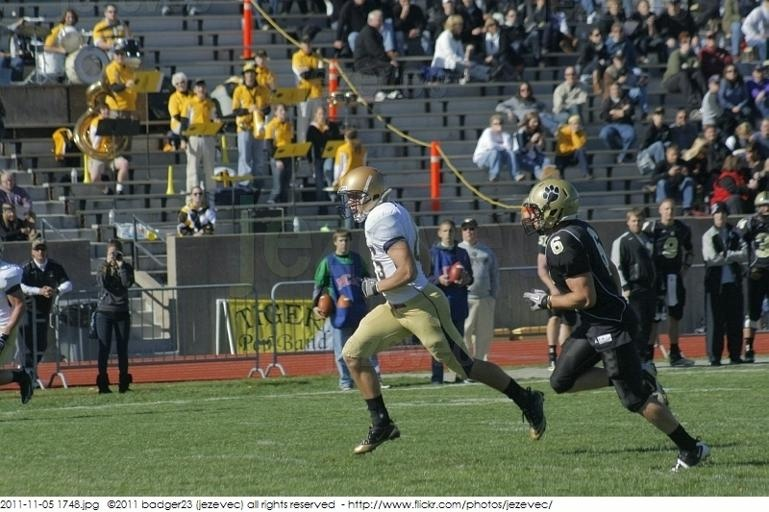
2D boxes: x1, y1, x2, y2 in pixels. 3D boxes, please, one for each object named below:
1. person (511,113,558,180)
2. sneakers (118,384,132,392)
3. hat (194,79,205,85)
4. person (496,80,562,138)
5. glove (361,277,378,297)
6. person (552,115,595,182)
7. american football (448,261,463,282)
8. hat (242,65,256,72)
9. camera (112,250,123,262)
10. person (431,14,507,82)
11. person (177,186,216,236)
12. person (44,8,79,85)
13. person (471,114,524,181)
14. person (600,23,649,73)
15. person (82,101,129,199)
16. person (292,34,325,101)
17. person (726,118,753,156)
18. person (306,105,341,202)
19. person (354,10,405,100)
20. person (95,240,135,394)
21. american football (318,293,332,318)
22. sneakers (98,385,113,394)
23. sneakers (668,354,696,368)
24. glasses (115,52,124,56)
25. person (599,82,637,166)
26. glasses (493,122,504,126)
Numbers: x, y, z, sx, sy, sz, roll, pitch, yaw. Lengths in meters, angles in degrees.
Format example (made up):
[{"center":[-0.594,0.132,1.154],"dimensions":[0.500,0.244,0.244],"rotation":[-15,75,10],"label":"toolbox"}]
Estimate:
[{"center":[3.118,-2.275,41.998],"dimensions":[0.719,1.275,1.371],"rotation":[-7,24,-23],"label":"person"},{"center":[-4.716,2.445,36.814],"dimensions":[0.155,0.105,0.145],"rotation":[2,3,16],"label":"sneakers"},{"center":[-3.758,-3.510,41.345],"dimensions":[0.211,0.087,0.303],"rotation":[-3,0,-11],"label":"hat"},{"center":[3.260,-3.108,43.143],"dimensions":[0.960,0.961,1.820],"rotation":[-8,18,-32],"label":"person"},{"center":[-0.227,0.530,32.211],"dimensions":[0.236,0.263,0.403],"rotation":[-2,-1,-9],"label":"glove"},{"center":[3.920,-2.262,42.527],"dimensions":[0.972,1.255,0.994],"rotation":[-4,8,-40],"label":"person"},{"center":[1.260,0.336,36.114],"dimensions":[0.217,0.337,0.345],"rotation":[18,-29,5],"label":"american football"},{"center":[-2.776,-3.829,41.758],"dimensions":[0.197,0.111,0.318],"rotation":[-4,6,-8],"label":"hat"},{"center":[-4.847,0.049,36.838],"dimensions":[0.181,0.155,0.172],"rotation":[2,3,7],"label":"camera"},{"center":[1.894,-4.546,44.694],"dimensions":[1.717,1.316,1.028],"rotation":[2,33,1],"label":"person"},{"center":[-3.787,-0.837,40.414],"dimensions":[0.736,0.944,0.883],"rotation":[-3,-1,11],"label":"person"},{"center":[-6.962,-4.545,43.722],"dimensions":[0.557,1.500,1.276],"rotation":[-2,-1,-25],"label":"person"},{"center":[2.376,-2.229,42.286],"dimensions":[0.729,1.269,1.590],"rotation":[-3,10,-10],"label":"person"},{"center":[5.217,-4.541,44.589],"dimensions":[1.068,0.824,0.541],"rotation":[-15,29,-23],"label":"person"},{"center":[-5.750,-2.136,42.016],"dimensions":[0.863,1.831,1.007],"rotation":[-2,-1,-9],"label":"person"},{"center":[-1.602,-3.890,42.983],"dimensions":[0.632,1.302,1.051],"rotation":[-2,-1,-2],"label":"person"},{"center":[7.445,-2.422,42.353],"dimensions":[0.520,0.763,0.327],"rotation":[40,11,15],"label":"person"},{"center":[-1.251,-2.066,41.752],"dimensions":[0.662,1.891,0.540],"rotation":[-3,-2,15],"label":"person"},{"center":[-0.168,-4.326,44.084],"dimensions":[0.832,1.882,1.409],"rotation":[-3,-1,15],"label":"person"},{"center":[-4.928,1.146,36.839],"dimensions":[0.677,2.769,0.610],"rotation":[-2,-2,-31],"label":"person"},{"center":[-1.037,0.915,35.886],"dimensions":[0.230,0.350,0.249],"rotation":[-6,-3,19],"label":"american football"},{"center":[-5.056,2.454,36.705],"dimensions":[0.176,0.118,0.170],"rotation":[0,3,-21],"label":"sneakers"},{"center":[5.503,2.014,37.526],"dimensions":[0.524,0.233,0.185],"rotation":[0,2,7],"label":"sneakers"},{"center":[-5.487,-4.159,42.161],"dimensions":[0.190,0.106,0.079],"rotation":[-1,-2,-30],"label":"glasses"},{"center":[4.988,-2.803,43.433],"dimensions":[0.728,1.108,0.922],"rotation":[-3,-1,6],"label":"person"},{"center":[2.349,-2.669,41.940],"dimensions":[0.180,0.061,0.129],"rotation":[-2,-1,-18],"label":"glasses"}]
